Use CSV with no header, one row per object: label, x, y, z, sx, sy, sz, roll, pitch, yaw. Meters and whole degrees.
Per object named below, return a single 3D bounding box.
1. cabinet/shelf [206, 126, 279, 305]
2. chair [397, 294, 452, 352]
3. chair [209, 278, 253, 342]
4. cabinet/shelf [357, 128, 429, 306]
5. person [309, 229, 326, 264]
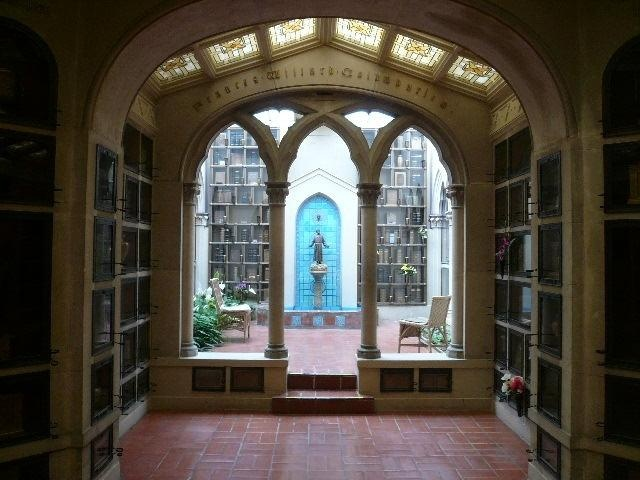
cabinet/shelf,-1.817,-0.627,12.820,1.688,4.560,0.501,0,-3,11
chair,1.646,1.328,8.110,0.562,0.989,0.672,1,1,-44
chair,-1.682,1.276,9.792,0.666,1.056,0.625,-5,-3,3
cabinet/shelf,1.952,-0.542,12.407,1.183,4.043,0.974,1,8,6
person,-0.071,0.183,12.577,0.389,0.905,1.054,0,8,0
